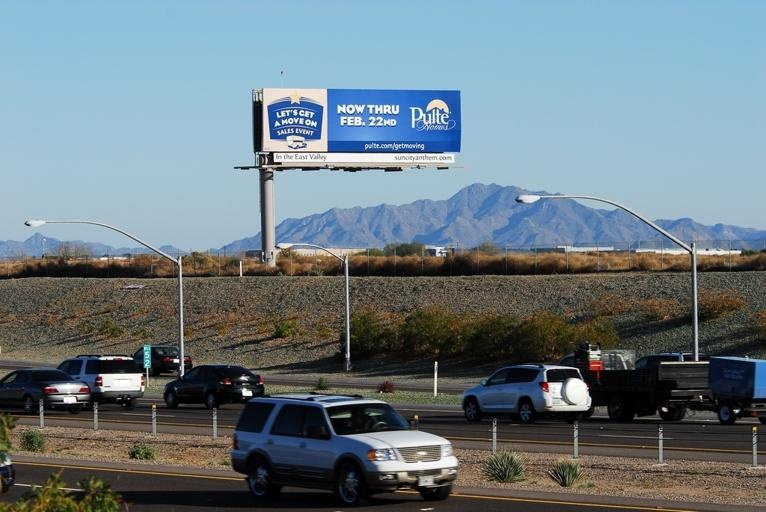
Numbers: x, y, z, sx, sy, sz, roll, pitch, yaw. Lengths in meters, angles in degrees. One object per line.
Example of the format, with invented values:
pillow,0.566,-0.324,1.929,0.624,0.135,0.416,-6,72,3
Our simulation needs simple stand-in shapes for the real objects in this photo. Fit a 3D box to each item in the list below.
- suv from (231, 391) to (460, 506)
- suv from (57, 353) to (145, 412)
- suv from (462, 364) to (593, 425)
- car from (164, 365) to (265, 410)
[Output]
suv,-1.720,7.326,59.053,7.179,2.965,4.002,-5,-6,37
suv,-14.672,6.314,79.034,2.890,2.501,5.869,0,1,-40
suv,6.542,6.360,71.525,4.721,1.905,2.775,1,-1,42
car,-8.400,6.612,76.947,5.516,2.057,2.410,-2,-2,43
